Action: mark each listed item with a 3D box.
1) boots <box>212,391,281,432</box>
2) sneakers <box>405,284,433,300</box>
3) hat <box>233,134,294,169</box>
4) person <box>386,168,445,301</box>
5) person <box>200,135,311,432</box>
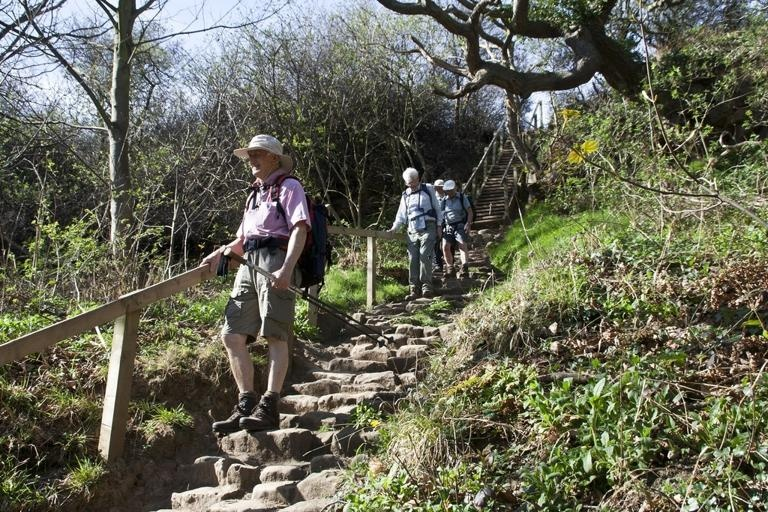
[{"bbox_3d":[-1.203,1.423,5.566,0.341,0.267,0.512,2,1,40],"label":"boots"},{"bbox_3d":[0.569,0.580,10.113,0.477,0.242,0.297,-6,-5,13],"label":"sneakers"},{"bbox_3d":[-1.058,-1.049,6.074,0.397,0.206,0.492,3,-20,43],"label":"hat"},{"bbox_3d":[0.556,-0.410,10.277,0.793,2.220,0.676,-5,-5,2],"label":"person"},{"bbox_3d":[-1.130,0.218,5.836,0.981,2.757,0.589,-6,-5,15],"label":"person"}]
